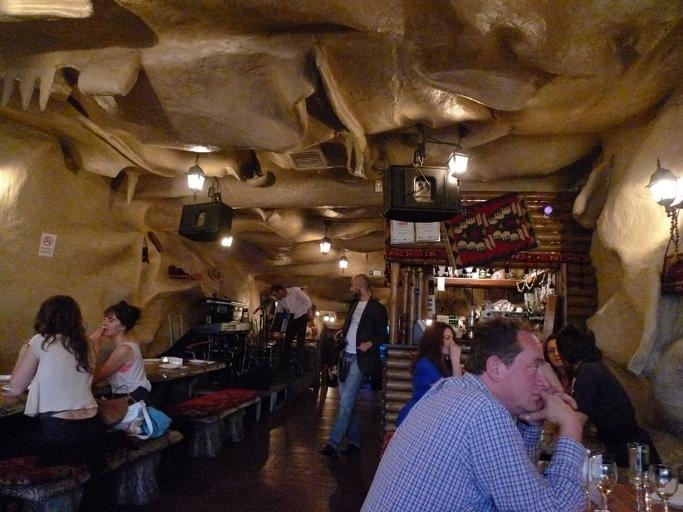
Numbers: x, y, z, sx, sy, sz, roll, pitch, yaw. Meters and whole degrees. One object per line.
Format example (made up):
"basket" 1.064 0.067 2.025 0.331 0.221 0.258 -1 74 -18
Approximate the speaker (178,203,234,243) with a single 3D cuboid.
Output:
"speaker" -2.273 -0.607 8.111 1.091 0.542 0.690 1 31 1

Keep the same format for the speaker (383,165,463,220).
"speaker" 1.132 -0.860 6.192 0.911 0.562 0.527 8 19 32

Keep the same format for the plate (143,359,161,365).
"plate" -2.632 1.468 6.876 0.211 0.050 0.219 8 -10 -43

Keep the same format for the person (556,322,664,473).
"person" 2.397 1.362 4.527 0.705 1.484 0.635 -11 2 16

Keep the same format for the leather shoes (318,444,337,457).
"leather shoes" -0.231 2.597 6.671 0.284 0.116 0.121 17 -14 31

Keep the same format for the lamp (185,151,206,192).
"lamp" -2.140 -1.205 7.302 0.241 0.587 0.837 6 -7 -17

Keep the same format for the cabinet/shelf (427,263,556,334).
"cabinet/shelf" 2.419 0.633 8.005 1.397 0.752 0.712 1 -10 6

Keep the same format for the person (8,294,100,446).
"person" -2.397 0.975 4.273 0.739 1.260 0.252 6 -6 -23

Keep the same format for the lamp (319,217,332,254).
"lamp" -0.395 -0.467 12.506 0.238 0.756 0.747 4 -6 -1
